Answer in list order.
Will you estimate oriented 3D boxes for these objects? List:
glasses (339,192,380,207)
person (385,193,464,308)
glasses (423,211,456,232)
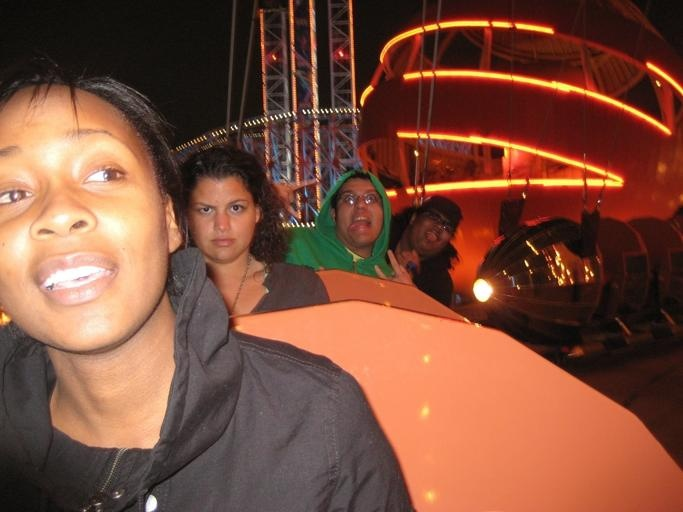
[{"bbox_3d":[0.100,-0.307,3.183,0.114,0.034,0.122,4,-3,-15],"label":"glasses"},{"bbox_3d":[0.581,-0.040,3.939,0.502,0.817,0.420,17,-39,-22],"label":"person"},{"bbox_3d":[0.658,-0.226,3.830,0.133,0.057,0.152,34,-2,13],"label":"glasses"}]
